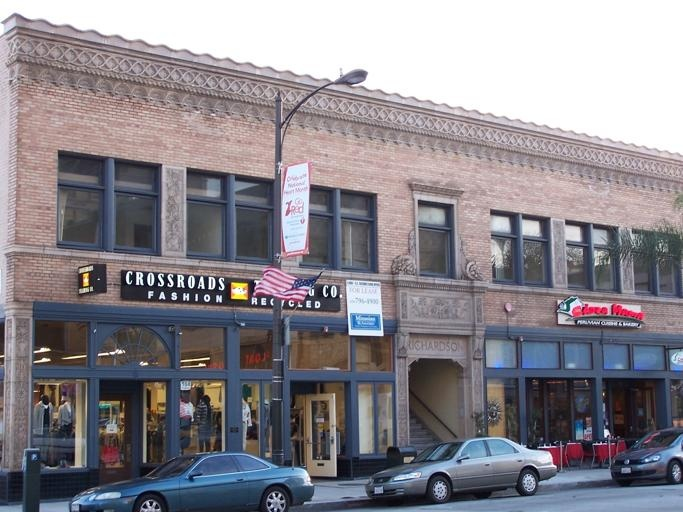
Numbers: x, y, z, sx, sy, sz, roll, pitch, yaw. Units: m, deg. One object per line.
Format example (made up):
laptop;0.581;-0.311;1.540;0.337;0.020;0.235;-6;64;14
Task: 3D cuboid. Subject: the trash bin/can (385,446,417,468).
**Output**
trash bin/can;1.807;6.235;33.375;0.879;0.778;0.493;12;-18;-43

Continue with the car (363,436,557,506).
car;3.257;6.207;30.902;4.649;1.547;2.013;5;-16;-27

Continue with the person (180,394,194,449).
person;-4.704;5.020;32.654;0.446;1.724;0.217;4;-12;-26

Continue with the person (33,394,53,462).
person;-8.448;4.894;30.555;0.498;1.897;0.247;3;-12;-20

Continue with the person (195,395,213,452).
person;-4.207;5.092;32.921;0.513;1.685;0.206;3;-12;-21
